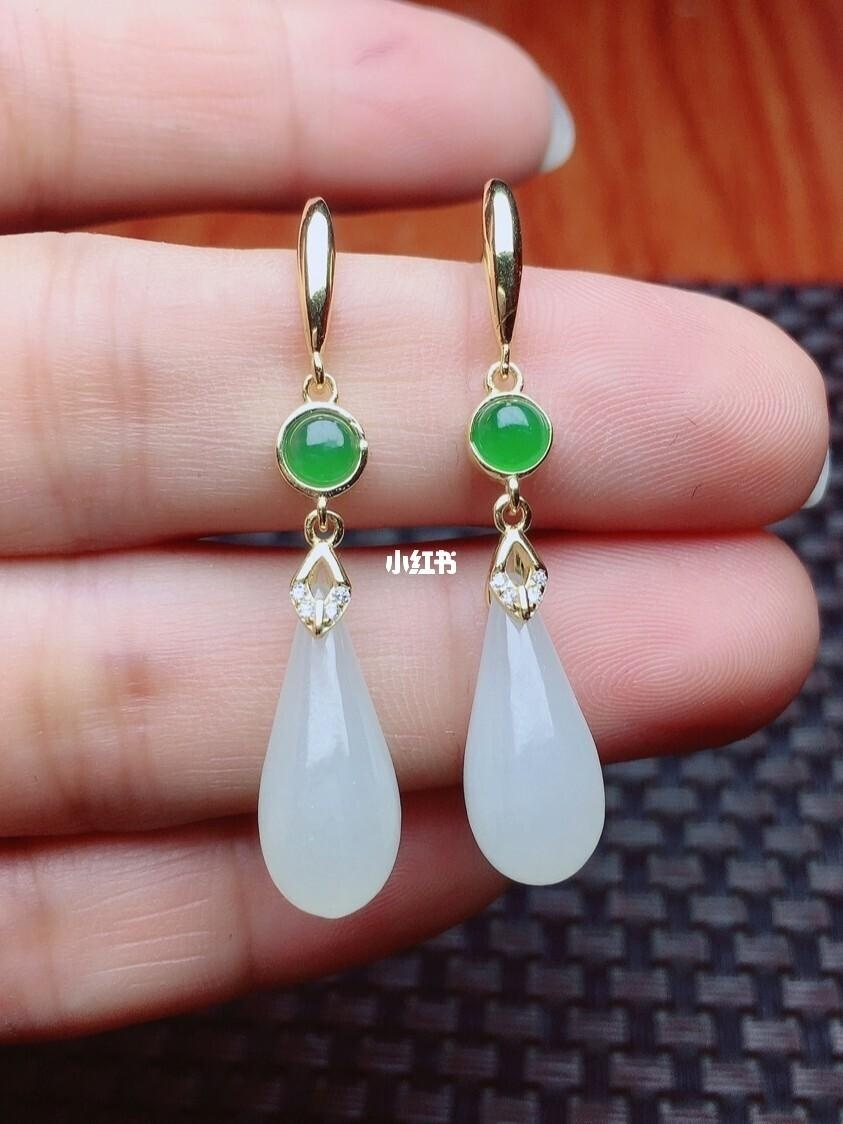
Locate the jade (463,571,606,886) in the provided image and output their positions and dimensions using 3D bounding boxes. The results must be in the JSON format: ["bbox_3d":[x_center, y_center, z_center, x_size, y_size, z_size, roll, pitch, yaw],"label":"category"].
[{"bbox_3d":[0.081,0.126,0.851,0.106,0.282,0.085,-7,24,4],"label":"jade"}]

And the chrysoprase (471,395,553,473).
[{"bbox_3d":[0.073,-0.105,0.892,0.053,0.070,0.031,2,7,1],"label":"chrysoprase"}]
